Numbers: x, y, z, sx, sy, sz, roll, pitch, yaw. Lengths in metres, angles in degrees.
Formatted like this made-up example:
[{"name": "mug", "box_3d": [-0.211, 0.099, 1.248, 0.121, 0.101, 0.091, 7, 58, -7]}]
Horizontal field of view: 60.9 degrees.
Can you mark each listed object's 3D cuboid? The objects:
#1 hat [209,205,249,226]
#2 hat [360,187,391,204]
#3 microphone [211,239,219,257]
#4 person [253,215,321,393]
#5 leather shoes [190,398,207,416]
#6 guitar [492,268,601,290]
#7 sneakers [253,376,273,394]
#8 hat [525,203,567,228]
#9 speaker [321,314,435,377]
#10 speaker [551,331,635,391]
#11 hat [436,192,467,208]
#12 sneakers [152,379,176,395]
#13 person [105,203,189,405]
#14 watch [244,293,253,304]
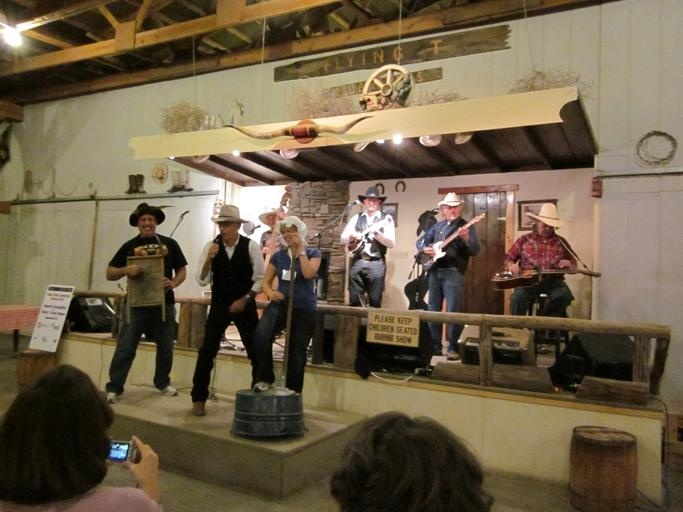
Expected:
[{"name": "hat", "box_3d": [-1.351, -0.501, 7.222, 0.464, 0.197, 0.527, 1, -6, 3]}, {"name": "hat", "box_3d": [0.558, -1.099, 10.351, 0.357, 0.161, 0.409, 1, -9, 8]}, {"name": "microphone", "box_3d": [-1.519, -0.111, 7.031, 0.137, 0.181, 0.054, -20, -22, 28]}, {"name": "person", "box_3d": [-0.635, 0.569, 6.810, 0.681, 2.054, 0.756, 4, -4, -3]}, {"name": "leather shoes", "box_3d": [-1.668, 1.761, 6.789, 0.162, 0.171, 0.227, 4, -3, -13]}, {"name": "guitar", "box_3d": [3.143, 0.343, 8.994, 1.418, 0.365, 0.850, 4, -3, -22]}, {"name": "sneakers", "box_3d": [-0.872, 1.442, 6.451, 0.118, 0.148, 0.353, -3, -20, 3]}, {"name": "hat", "box_3d": [3.372, -0.621, 9.508, 0.462, 0.215, 0.518, 12, -8, 13]}, {"name": "speaker", "box_3d": [0.679, 1.289, 7.499, 1.141, 0.535, 0.774, 0, -19, 12]}, {"name": "speaker", "box_3d": [3.004, 1.286, 6.981, 0.894, 0.720, 0.673, 2, -4, 20]}, {"name": "hat", "box_3d": [1.815, -0.948, 9.666, 0.346, 0.162, 0.402, -4, -11, 1]}, {"name": "sneakers", "box_3d": [-2.284, 1.731, 7.554, 0.338, 0.139, 0.129, -5, -11, 30]}, {"name": "person", "box_3d": [-2.478, 0.554, 7.330, 0.942, 2.470, 0.740, 5, -4, -18]}, {"name": "watch", "box_3d": [-1.114, 0.505, 6.970, 0.105, 0.102, 0.070, -24, -3, 12]}]
